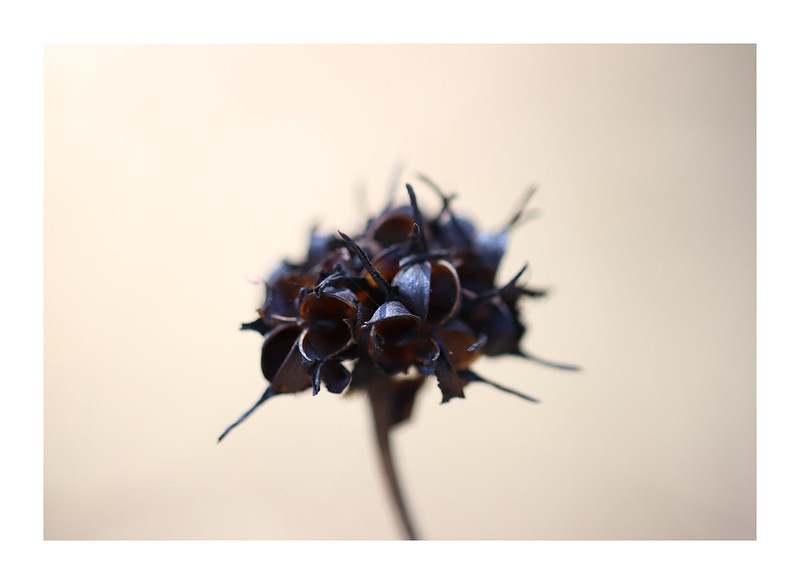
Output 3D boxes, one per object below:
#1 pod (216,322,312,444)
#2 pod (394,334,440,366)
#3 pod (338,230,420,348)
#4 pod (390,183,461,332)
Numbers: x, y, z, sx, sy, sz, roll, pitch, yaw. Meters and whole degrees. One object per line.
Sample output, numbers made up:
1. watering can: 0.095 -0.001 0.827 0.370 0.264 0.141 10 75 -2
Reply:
1. pod: -0.304 0.211 2.308 0.189 0.256 0.308 5 -80 -3
2. pod: 0.043 0.144 2.253 0.027 0.103 0.062 -9 -85 -45
3. pod: -0.060 -0.026 2.251 0.125 0.307 0.100 -19 -26 -4
4. pod: 0.065 -0.067 2.258 0.163 0.360 0.153 -37 -57 22
